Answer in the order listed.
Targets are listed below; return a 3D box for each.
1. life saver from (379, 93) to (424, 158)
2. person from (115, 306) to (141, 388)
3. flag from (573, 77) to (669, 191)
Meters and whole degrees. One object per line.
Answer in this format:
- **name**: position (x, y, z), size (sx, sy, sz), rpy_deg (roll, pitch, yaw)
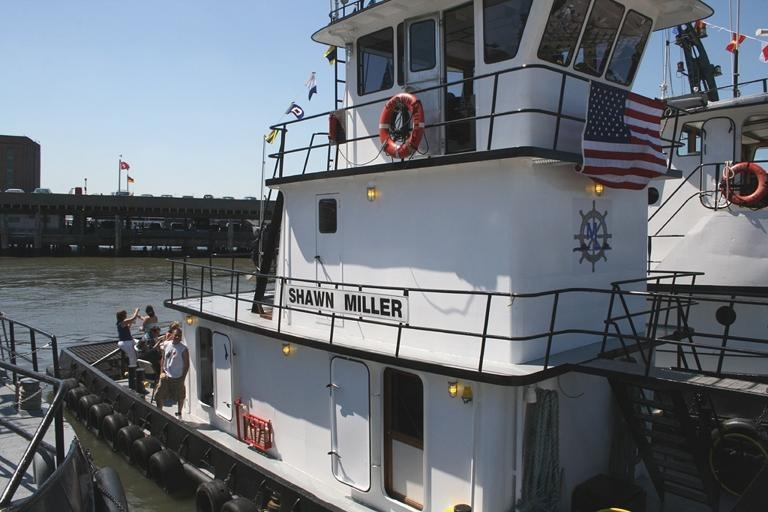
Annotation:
- **life saver**: position (0.352, -2.608, 14.345), size (0.755, 1.446, 0.759), rpy_deg (-14, 19, -3)
- **person**: position (-7.088, 2.452, 20.269), size (0.572, 1.973, 0.762), rpy_deg (-8, 5, -12)
- **flag**: position (4.687, -2.357, 14.242), size (2.191, 2.075, 0.247), rpy_deg (-2, 3, -28)
